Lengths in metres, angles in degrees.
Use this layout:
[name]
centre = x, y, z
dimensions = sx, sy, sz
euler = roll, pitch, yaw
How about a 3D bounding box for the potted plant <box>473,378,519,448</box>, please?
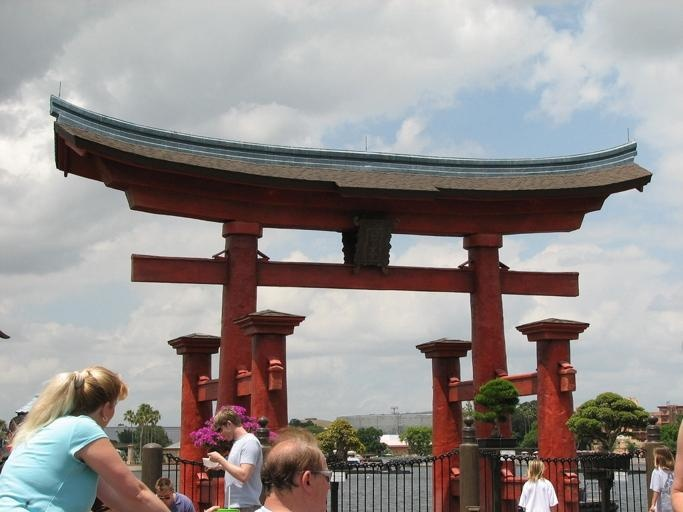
[potted plant]
centre = 3.990, 3.848, 33.988
dimensions = 1.067, 1.518, 1.272
euler = -2, -2, 30
